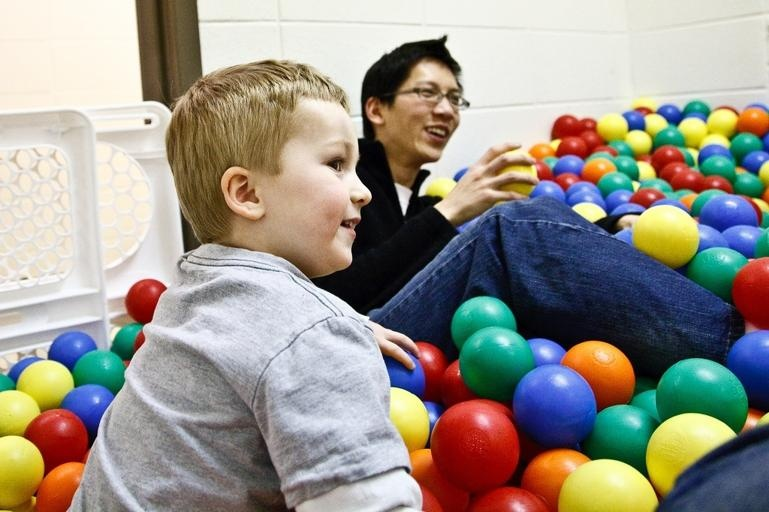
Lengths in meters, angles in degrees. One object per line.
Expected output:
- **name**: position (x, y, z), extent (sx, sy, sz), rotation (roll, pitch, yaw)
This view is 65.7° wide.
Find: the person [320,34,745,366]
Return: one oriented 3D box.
- **person**: position (0.322, -0.155, 1.639), extent (1.095, 0.883, 0.568), rotation (-1, 3, 31)
